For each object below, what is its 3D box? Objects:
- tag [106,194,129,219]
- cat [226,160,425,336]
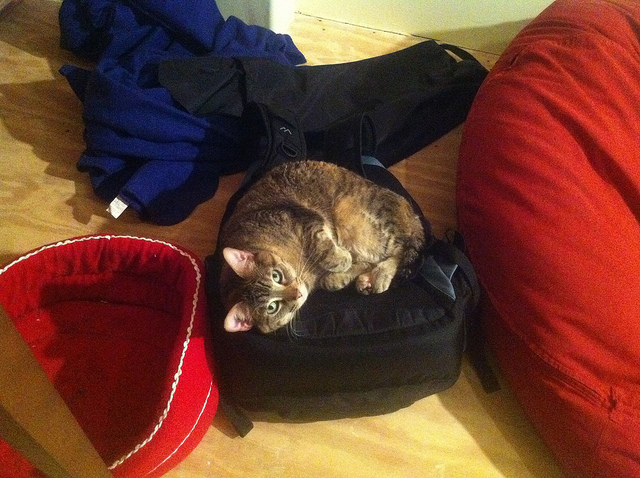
[{"bbox_3d":[-0.738,-0.120,2.012,0.064,0.081,0.058,26,38,27],"label":"tag"},{"bbox_3d":[0.000,0.007,1.930,0.667,0.384,0.514,-3,34,-14],"label":"cat"}]
